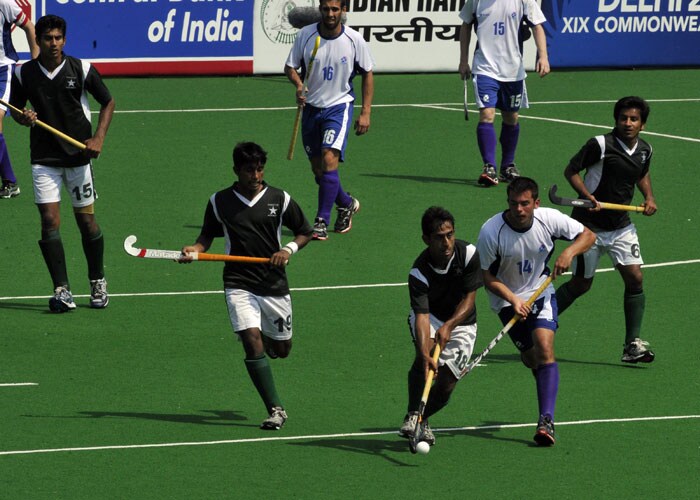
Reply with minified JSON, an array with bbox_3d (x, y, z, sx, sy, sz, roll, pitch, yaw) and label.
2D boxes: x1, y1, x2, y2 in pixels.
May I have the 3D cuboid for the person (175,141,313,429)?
[{"bbox_3d":[-0.857,0.277,8.208,0.845,2.398,0.910,3,11,13],"label":"person"}]

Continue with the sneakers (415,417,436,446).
[{"bbox_3d":[0.601,1.513,7.744,0.147,0.235,0.090,-9,12,-28],"label":"sneakers"}]

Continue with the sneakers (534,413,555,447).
[{"bbox_3d":[1.571,1.489,7.742,0.162,0.302,0.261,3,11,11],"label":"sneakers"}]

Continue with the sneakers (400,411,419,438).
[{"bbox_3d":[0.468,1.403,7.556,0.122,0.209,0.050,1,-34,29],"label":"sneakers"}]

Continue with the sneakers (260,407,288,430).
[{"bbox_3d":[-0.638,1.425,7.989,0.122,0.135,0.276,9,-4,14],"label":"sneakers"}]

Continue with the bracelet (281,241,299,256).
[{"bbox_3d":[-0.526,-0.012,8.235,0.089,0.049,0.126,19,24,29],"label":"bracelet"}]

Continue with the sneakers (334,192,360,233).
[{"bbox_3d":[-0.082,-0.522,12.164,0.201,0.613,0.290,10,-11,31],"label":"sneakers"}]

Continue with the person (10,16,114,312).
[{"bbox_3d":[-2.962,-0.881,9.900,0.994,3.044,0.537,-3,12,-20],"label":"person"}]

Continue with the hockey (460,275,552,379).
[{"bbox_3d":[1.369,0.699,8.356,0.061,1.289,0.177,43,4,-35],"label":"hockey"}]

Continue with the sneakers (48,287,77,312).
[{"bbox_3d":[-3.002,0.532,9.906,0.156,0.179,0.352,0,-6,-4],"label":"sneakers"}]

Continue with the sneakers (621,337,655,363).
[{"bbox_3d":[2.744,0.999,9.235,0.170,0.189,0.370,3,-10,-18],"label":"sneakers"}]

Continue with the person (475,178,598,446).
[{"bbox_3d":[1.622,0.454,8.165,0.882,2.141,0.937,-7,14,-35],"label":"person"}]
